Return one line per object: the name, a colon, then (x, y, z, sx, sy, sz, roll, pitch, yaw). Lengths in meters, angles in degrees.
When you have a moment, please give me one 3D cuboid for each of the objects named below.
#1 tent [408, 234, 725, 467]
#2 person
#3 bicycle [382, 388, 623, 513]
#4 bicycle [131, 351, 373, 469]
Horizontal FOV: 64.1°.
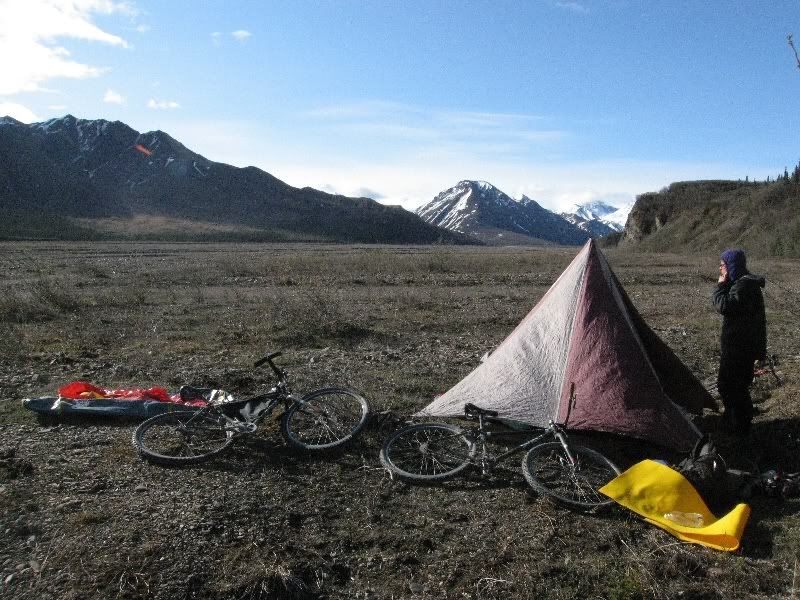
tent: (2.564, 0.984, 9.581, 2.983, 2.400, 3.447, 1, -1, 11)
person: (4.672, 0.537, 8.836, 0.689, 2.448, 0.663, 6, 11, 30)
bicycle: (1.182, 1.994, 8.125, 2.427, 1.322, 1.480, 1, 8, 15)
bicycle: (-1.972, 1.372, 8.654, 3.040, 1.172, 1.333, -1, 10, -9)
